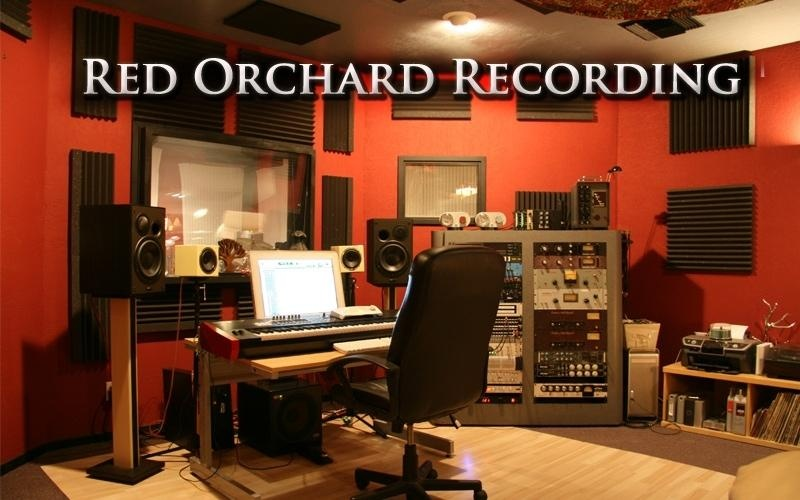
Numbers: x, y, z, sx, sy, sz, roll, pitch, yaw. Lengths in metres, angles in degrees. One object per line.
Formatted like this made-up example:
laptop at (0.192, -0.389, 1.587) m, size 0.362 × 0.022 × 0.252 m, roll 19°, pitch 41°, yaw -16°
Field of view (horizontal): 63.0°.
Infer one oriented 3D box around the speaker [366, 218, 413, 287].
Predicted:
speaker at (-0.190, 0.008, 6.485) m, size 0.556 × 0.880 × 0.613 m, roll 1°, pitch 1°, yaw -6°

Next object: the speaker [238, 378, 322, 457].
speaker at (-1.089, 1.528, 6.066) m, size 0.797 × 0.536 × 0.572 m, roll -1°, pitch -2°, yaw 40°

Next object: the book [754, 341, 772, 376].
book at (3.473, 1.055, 6.252) m, size 0.097 × 0.265 × 0.305 m, roll 1°, pitch -2°, yaw 36°

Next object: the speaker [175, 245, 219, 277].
speaker at (-1.866, 0.105, 5.972) m, size 0.330 × 0.262 × 0.305 m, roll -1°, pitch -3°, yaw 16°

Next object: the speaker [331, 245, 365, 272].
speaker at (-0.488, 0.079, 6.425) m, size 0.282 × 0.265 × 0.283 m, roll 1°, pitch -5°, yaw -32°

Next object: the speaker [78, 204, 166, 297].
speaker at (-2.528, 0.002, 6.052) m, size 0.916 × 1.077 × 0.581 m, roll -1°, pitch -1°, yaw 3°

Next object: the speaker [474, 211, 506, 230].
speaker at (0.921, -0.307, 6.801) m, size 0.305 × 0.209 × 0.290 m, roll 1°, pitch 13°, yaw 5°
